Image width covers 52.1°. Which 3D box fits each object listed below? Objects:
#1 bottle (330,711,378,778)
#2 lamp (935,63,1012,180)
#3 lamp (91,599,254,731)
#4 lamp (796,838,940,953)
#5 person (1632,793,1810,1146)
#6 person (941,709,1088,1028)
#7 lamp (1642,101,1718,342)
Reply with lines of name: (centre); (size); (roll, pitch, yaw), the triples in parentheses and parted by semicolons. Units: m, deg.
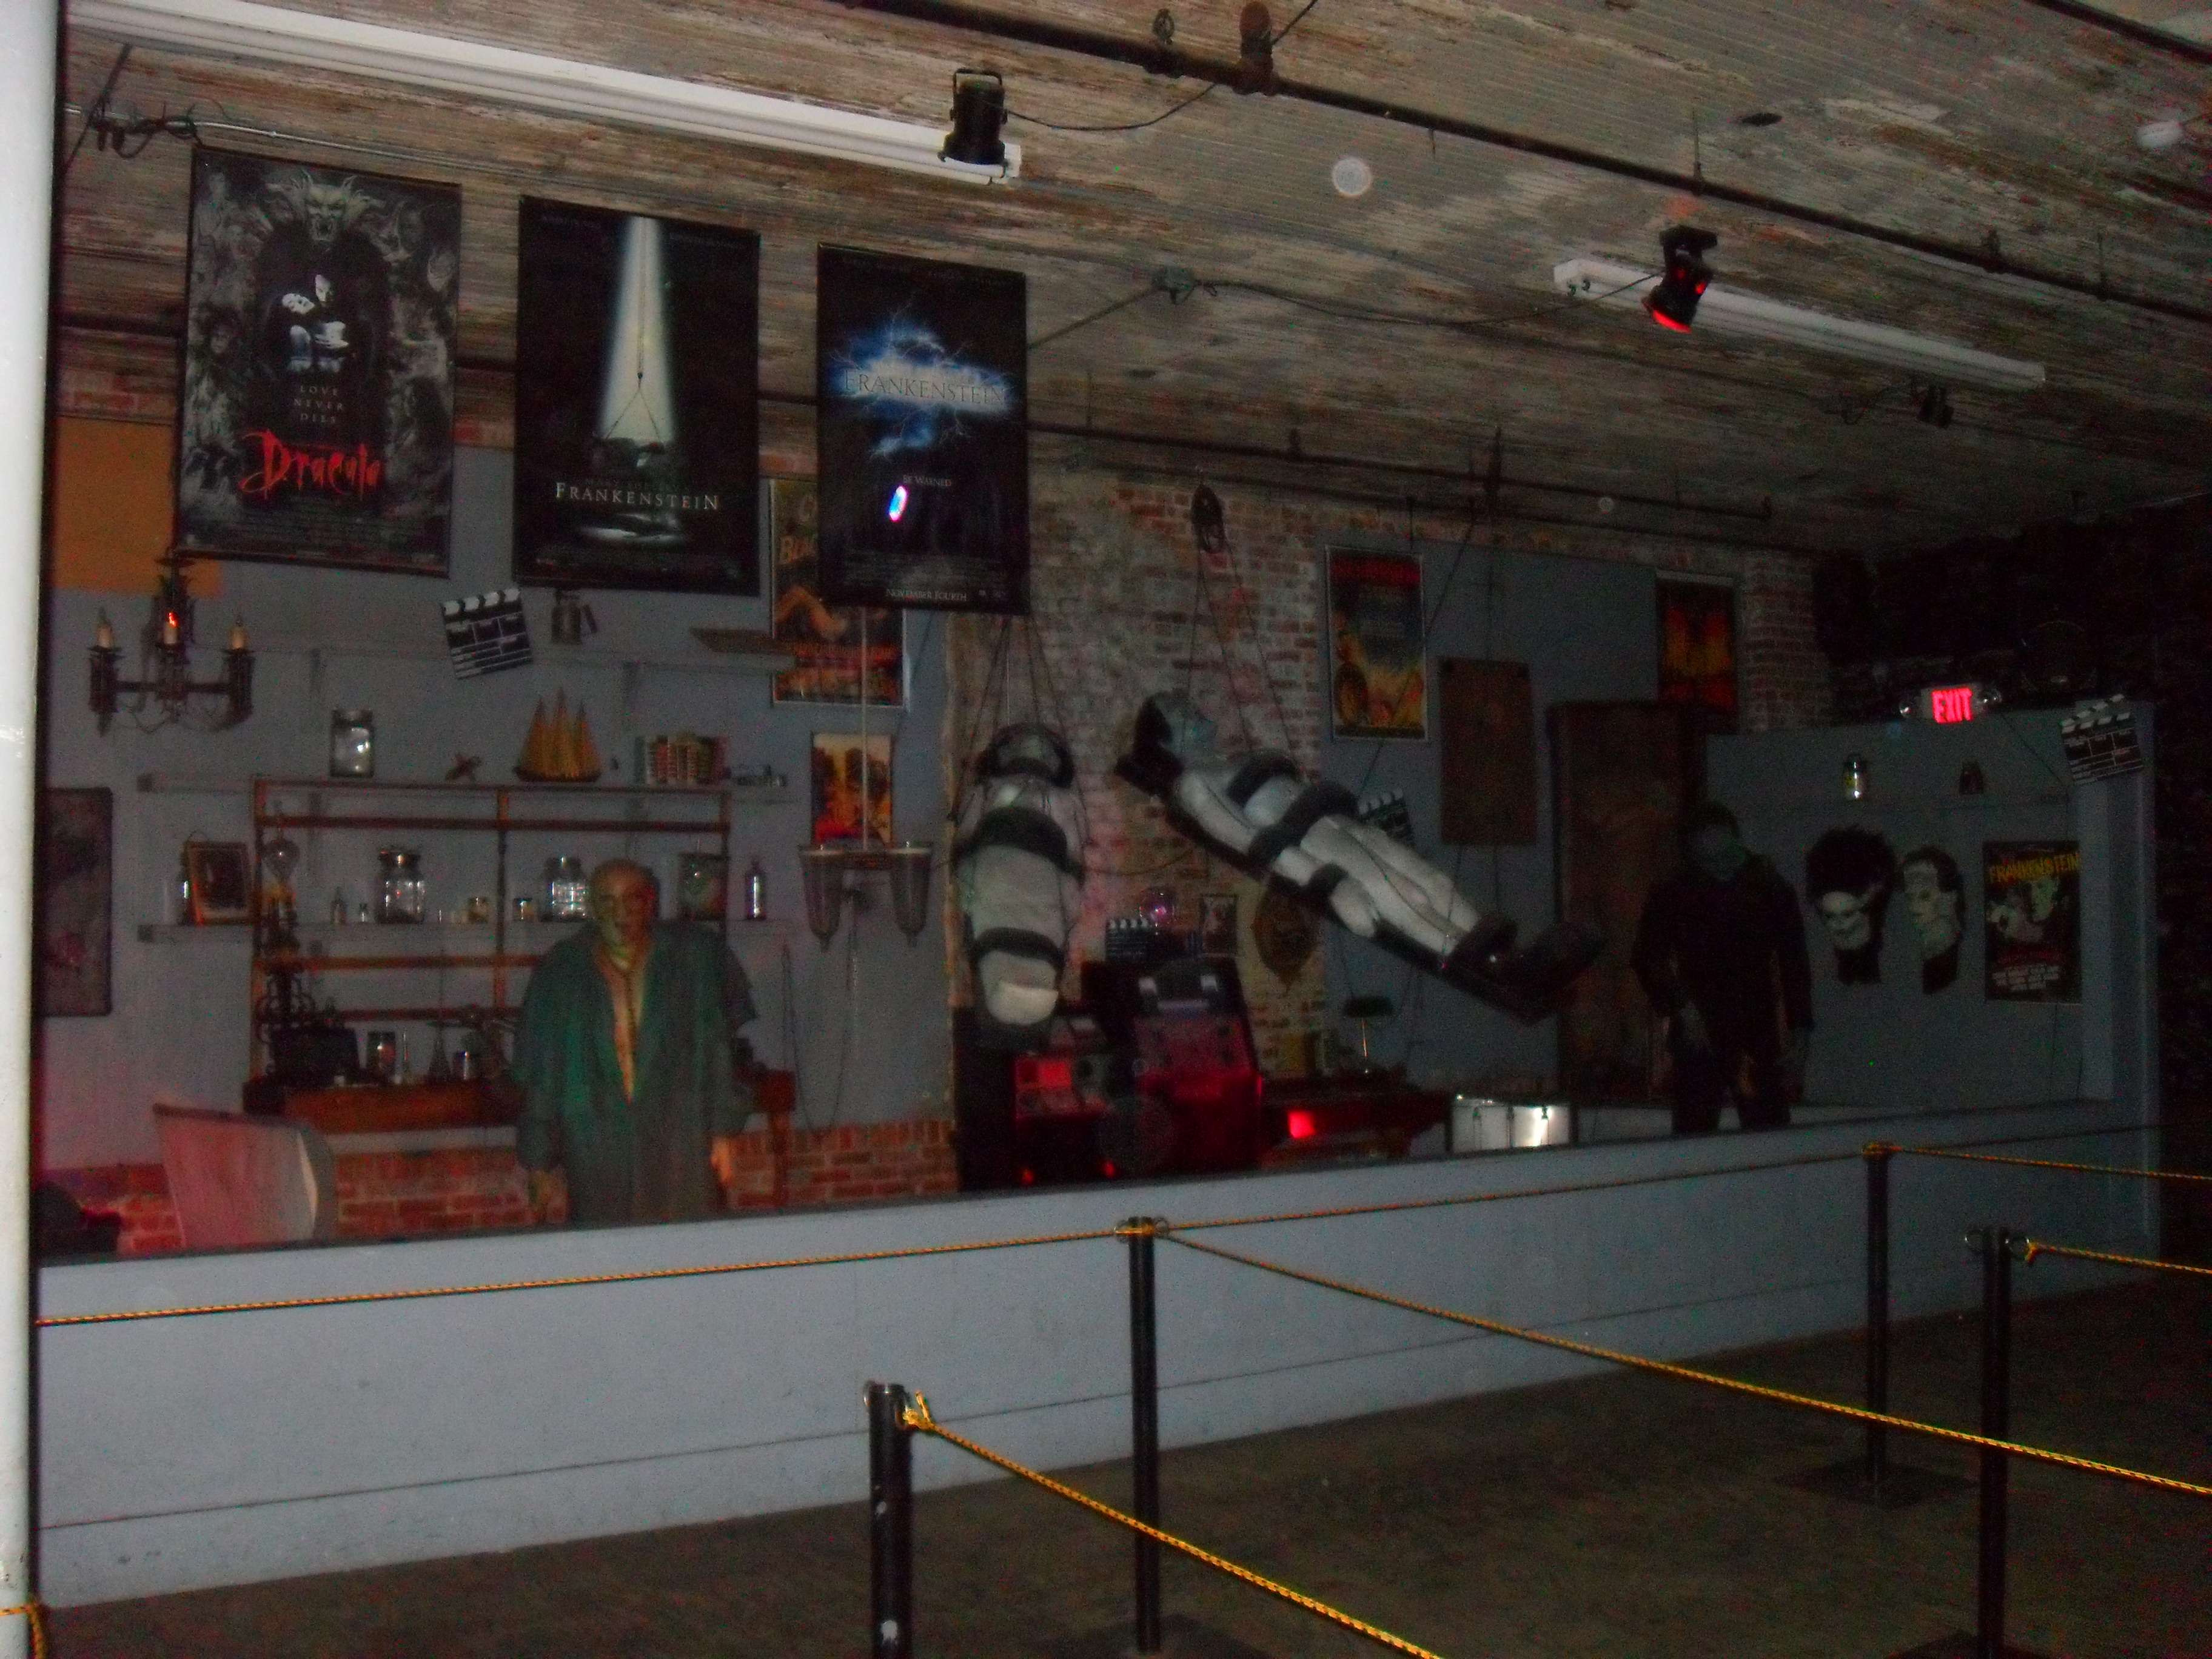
bottle: (-3.337, -0.388, 10.107); (0.206, 0.246, 0.039); (-2, 1, -23)
lamp: (-0.443, -2.486, 7.881); (0.255, 0.309, 0.268); (-15, 36, -37)
lamp: (-3.976, -0.686, 9.752); (0.557, 0.602, 0.530); (-1, 2, -44)
lamp: (-1.183, 0.263, 10.714); (0.573, 0.437, 0.468); (0, -2, -21)
person: (3.444, 1.094, 12.651); (0.861, 2.489, 0.694); (-3, 18, 13)
person: (-0.367, 0.207, 11.401); (0.795, 1.019, 0.597); (-2, 1, -30)
lamp: (2.286, -2.410, 8.971); (0.268, 0.765, 0.219); (15, 32, 27)
